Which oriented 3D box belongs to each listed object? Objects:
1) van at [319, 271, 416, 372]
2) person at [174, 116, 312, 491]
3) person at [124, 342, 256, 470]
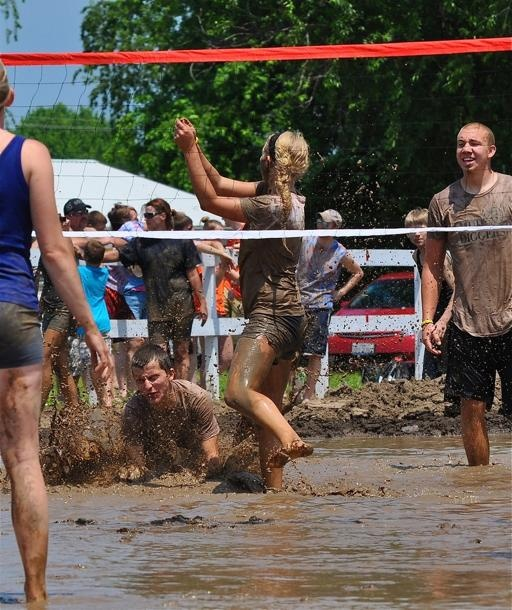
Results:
[{"bbox_3d":[1.790,0.154,15.222,1.232,1.132,2.640,-1,2,22],"label":"van"},{"bbox_3d":[-0.043,0.045,6.519,0.650,2.064,1.067,-1,3,3],"label":"person"},{"bbox_3d":[-0.545,0.636,7.455,0.756,0.764,0.775,-6,4,-29],"label":"person"}]
